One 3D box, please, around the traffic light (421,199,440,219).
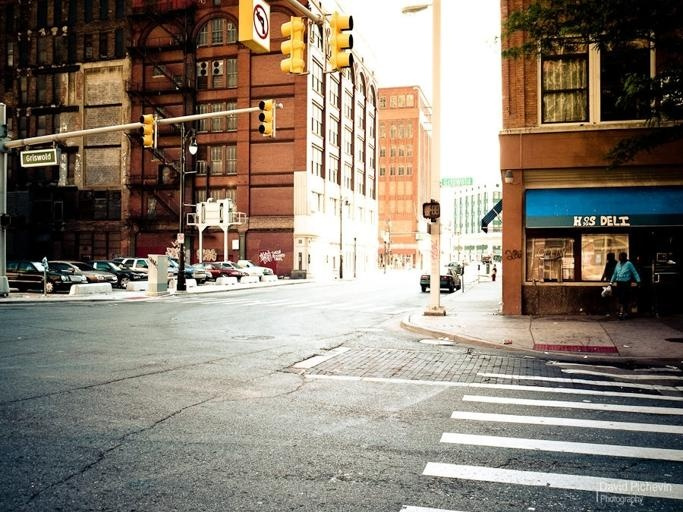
[{"bbox_3d":[2.939,-1.497,23.851,0.576,0.638,1.098,5,7,11],"label":"traffic light"}]
